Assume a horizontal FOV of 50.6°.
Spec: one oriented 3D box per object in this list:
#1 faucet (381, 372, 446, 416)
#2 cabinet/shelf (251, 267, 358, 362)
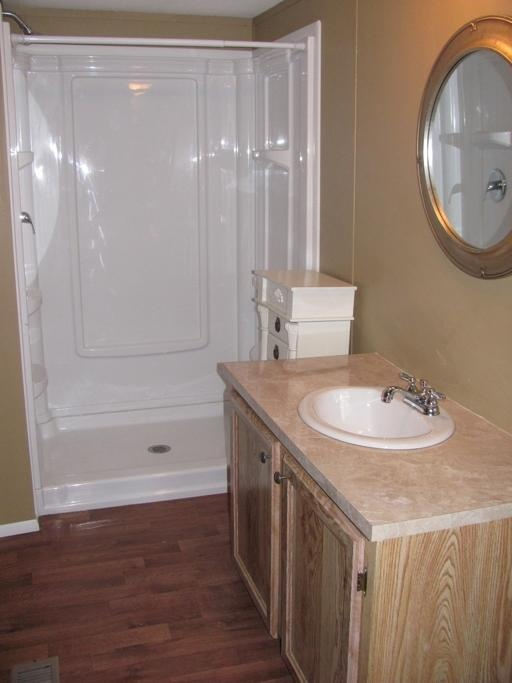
[{"bbox_3d":[0.444,0.154,1.502,0.105,0.054,0.156,-7,19,-18],"label":"faucet"},{"bbox_3d":[0.179,-0.224,2.458,0.326,0.625,0.566,-2,17,-11],"label":"cabinet/shelf"}]
